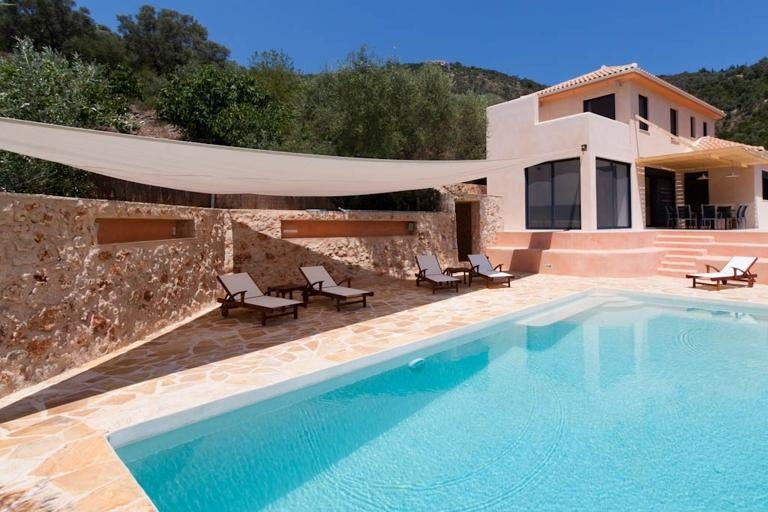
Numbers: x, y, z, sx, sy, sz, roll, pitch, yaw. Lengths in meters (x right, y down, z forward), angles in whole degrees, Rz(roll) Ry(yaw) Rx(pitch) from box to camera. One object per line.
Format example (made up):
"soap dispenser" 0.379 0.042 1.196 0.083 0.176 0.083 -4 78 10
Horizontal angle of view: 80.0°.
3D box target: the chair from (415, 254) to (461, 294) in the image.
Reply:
"chair" 1.457 0.727 12.522 0.806 0.749 1.607 -5 15 -20

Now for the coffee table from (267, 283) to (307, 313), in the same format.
"coffee table" -2.302 1.257 10.520 0.751 0.533 0.774 3 5 40

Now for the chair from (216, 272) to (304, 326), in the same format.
"chair" -2.780 1.120 9.552 1.862 0.822 1.029 6 7 38

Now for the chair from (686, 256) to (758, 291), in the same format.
"chair" 8.889 0.659 12.026 1.645 0.668 0.773 -6 7 -18

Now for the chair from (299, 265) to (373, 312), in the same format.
"chair" -1.149 0.972 10.492 1.756 0.770 0.928 10 12 43

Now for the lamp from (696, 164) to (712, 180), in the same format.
"lamp" 13.591 -3.761 19.442 0.485 0.653 0.958 10 17 27

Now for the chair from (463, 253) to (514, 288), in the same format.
"chair" 2.999 0.617 13.005 0.830 0.659 1.452 -7 12 -20

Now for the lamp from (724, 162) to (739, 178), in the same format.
"lamp" 13.960 -3.691 18.372 0.399 0.617 1.048 13 18 36

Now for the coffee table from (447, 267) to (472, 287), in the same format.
"coffee table" 2.149 0.810 13.031 0.736 0.518 0.701 0 1 6
